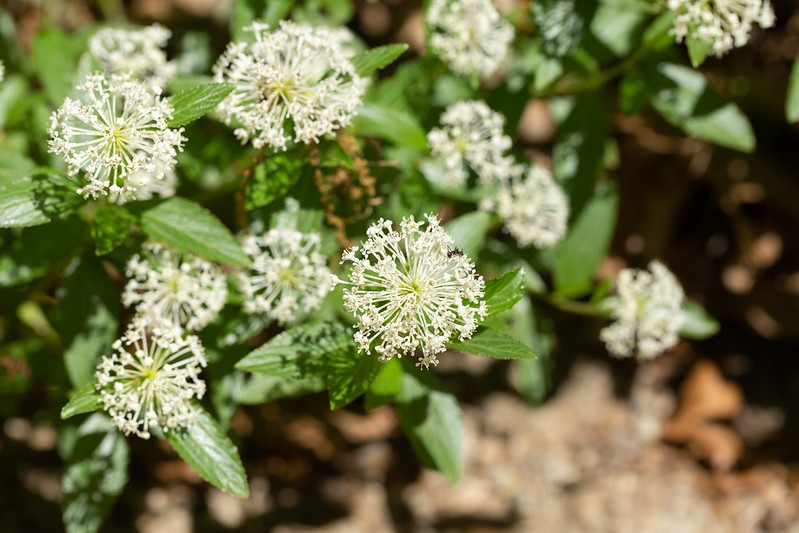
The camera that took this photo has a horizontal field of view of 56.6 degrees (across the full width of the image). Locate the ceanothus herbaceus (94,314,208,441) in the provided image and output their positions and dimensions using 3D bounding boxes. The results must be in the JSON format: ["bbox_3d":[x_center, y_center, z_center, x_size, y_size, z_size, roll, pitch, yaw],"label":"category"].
[{"bbox_3d":[-1.646,0.756,5.070,0.682,0.525,0.764,19,55,11],"label":"ceanothus herbaceus"}]

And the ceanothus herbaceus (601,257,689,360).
[{"bbox_3d":[2.014,0.255,6.090,0.296,0.973,0.744,-40,29,-24],"label":"ceanothus herbaceus"}]
